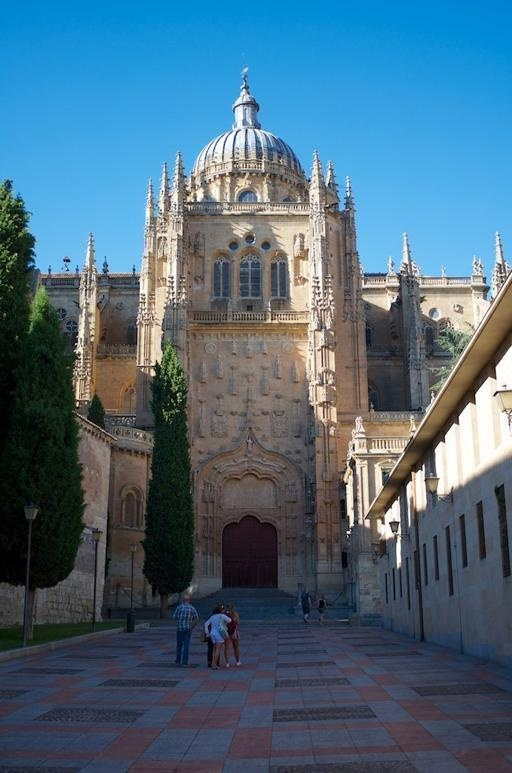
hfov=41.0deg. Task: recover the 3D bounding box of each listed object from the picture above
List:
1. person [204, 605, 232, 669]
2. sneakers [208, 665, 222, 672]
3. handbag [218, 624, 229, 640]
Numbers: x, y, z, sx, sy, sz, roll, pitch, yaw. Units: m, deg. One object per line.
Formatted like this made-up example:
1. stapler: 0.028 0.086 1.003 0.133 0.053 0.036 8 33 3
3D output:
1. person: -0.789 5.198 14.214 0.558 1.270 1.611 0 -13 -2
2. sneakers: -0.845 5.637 13.766 0.108 0.154 0.332 -2 -8 29
3. handbag: -0.672 4.931 13.716 0.119 0.411 0.375 -4 -13 14
